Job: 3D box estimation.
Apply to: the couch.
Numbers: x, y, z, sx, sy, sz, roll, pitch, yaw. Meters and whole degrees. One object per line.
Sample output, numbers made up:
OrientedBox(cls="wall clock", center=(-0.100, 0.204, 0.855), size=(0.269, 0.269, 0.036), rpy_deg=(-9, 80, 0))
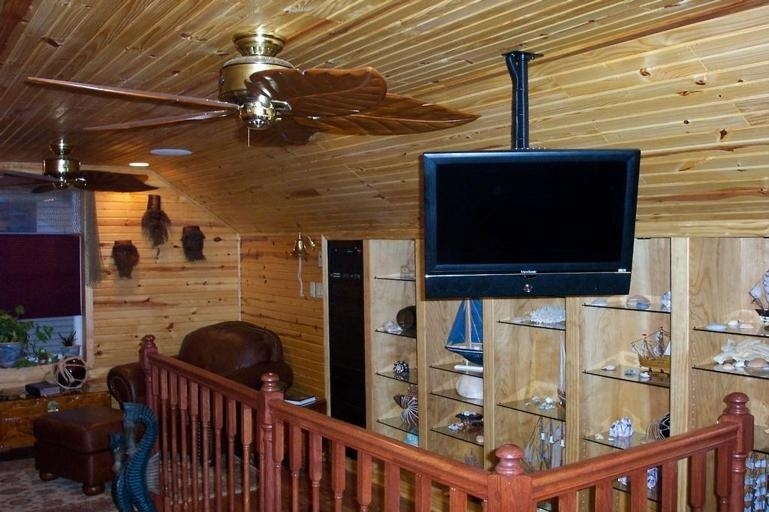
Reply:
OrientedBox(cls="couch", center=(-1.695, 0.996, 5.904), size=(2.129, 0.972, 1.123), rpy_deg=(0, -10, 33))

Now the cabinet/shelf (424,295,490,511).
OrientedBox(cls="cabinet/shelf", center=(0.681, 1.049, 4.857), size=(0.385, 1.357, 0.564), rpy_deg=(6, -3, -44))

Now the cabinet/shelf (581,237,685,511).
OrientedBox(cls="cabinet/shelf", center=(1.730, 0.626, 3.871), size=(0.442, 1.510, 0.663), rpy_deg=(6, -3, -44))

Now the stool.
OrientedBox(cls="stool", center=(-2.706, 1.730, 5.150), size=(0.677, 0.565, 0.382), rpy_deg=(1, -3, 36))

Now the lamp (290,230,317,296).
OrientedBox(cls="lamp", center=(-0.895, 0.098, 6.337), size=(0.219, 0.698, 0.399), rpy_deg=(5, -2, -16))

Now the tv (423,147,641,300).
OrientedBox(cls="tv", center=(0.779, -0.190, 3.102), size=(1.387, 0.606, 0.106), rpy_deg=(-1, 16, 2))

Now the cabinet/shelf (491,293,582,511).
OrientedBox(cls="cabinet/shelf", center=(1.145, 0.957, 4.299), size=(0.493, 1.312, 0.704), rpy_deg=(5, -3, -32))
